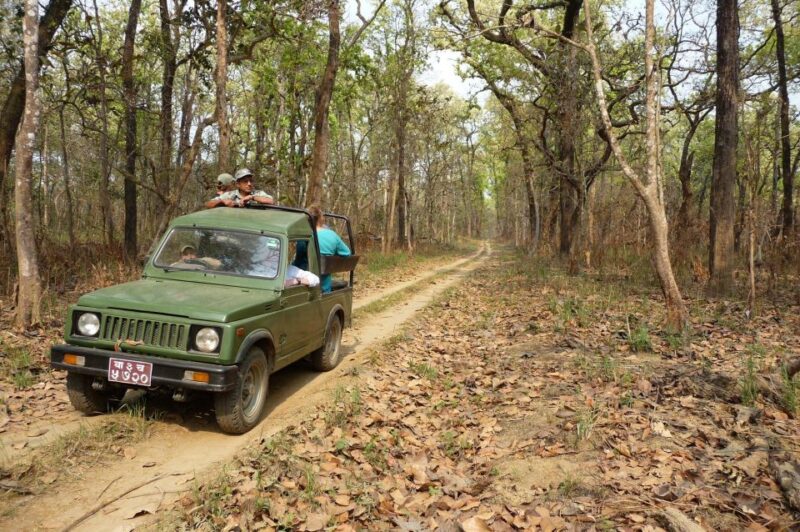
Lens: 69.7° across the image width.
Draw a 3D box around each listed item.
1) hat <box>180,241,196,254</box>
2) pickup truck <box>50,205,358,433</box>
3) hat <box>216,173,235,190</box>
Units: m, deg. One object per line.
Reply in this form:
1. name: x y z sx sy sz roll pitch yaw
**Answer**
1. hat: -3.925 -0.316 10.642 0.177 0.141 0.191 -11 -21 14
2. pickup truck: -3.236 0.744 11.540 2.823 3.300 5.456 4 5 17
3. hat: -3.839 -1.816 12.743 0.290 0.261 0.441 3 29 9
